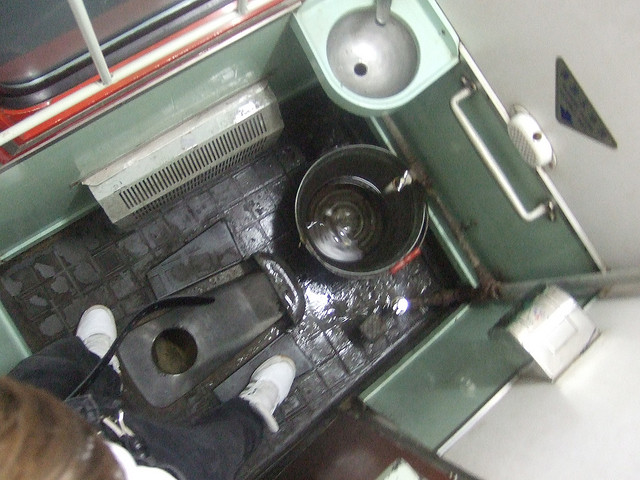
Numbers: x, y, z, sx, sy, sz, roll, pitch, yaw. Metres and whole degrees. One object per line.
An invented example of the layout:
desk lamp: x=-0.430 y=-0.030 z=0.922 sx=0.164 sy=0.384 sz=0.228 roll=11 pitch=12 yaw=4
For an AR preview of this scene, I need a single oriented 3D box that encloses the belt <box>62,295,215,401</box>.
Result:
belt: x=-0.513 y=0.260 z=1.556 sx=0.401 sy=0.377 sz=0.107 roll=-30 pitch=94 yaw=-7
